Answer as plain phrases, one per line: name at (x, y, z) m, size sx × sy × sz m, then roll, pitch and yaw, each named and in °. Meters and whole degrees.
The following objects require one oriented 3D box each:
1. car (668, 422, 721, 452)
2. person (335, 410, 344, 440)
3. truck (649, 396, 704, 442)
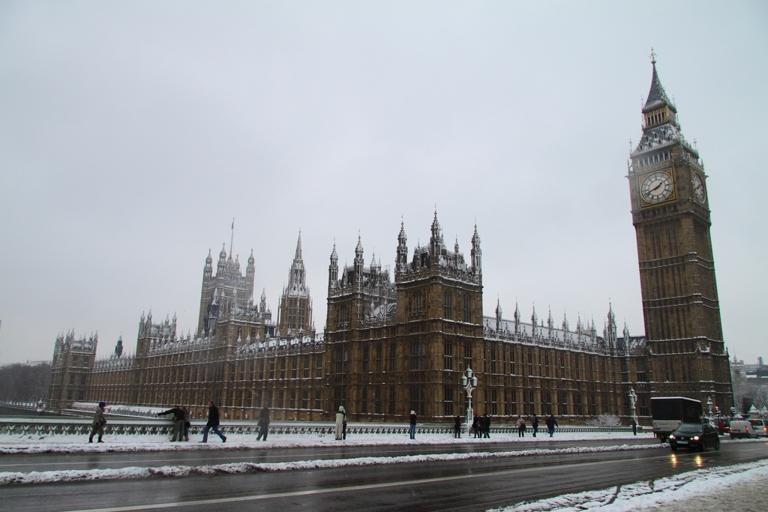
car at (21.646, 12.735, 41.496) m, size 4.214 × 1.791 × 1.730 m, roll 13°, pitch -22°, yaw -39°
person at (-3.118, 11.914, 41.385) m, size 0.527 × 1.863 × 1.017 m, roll 1°, pitch -16°, yaw -5°
truck at (24.382, 13.737, 49.525) m, size 2.473 × 3.059 × 5.864 m, roll -9°, pitch -22°, yaw 37°
